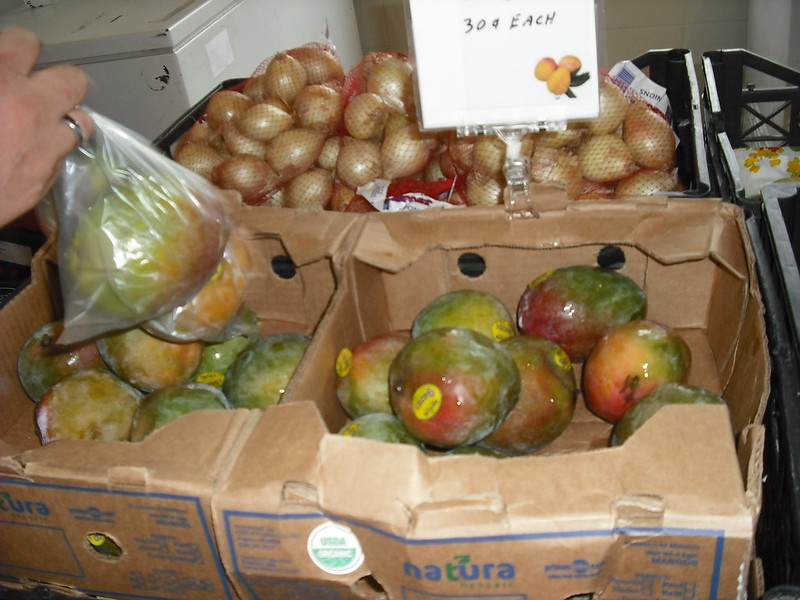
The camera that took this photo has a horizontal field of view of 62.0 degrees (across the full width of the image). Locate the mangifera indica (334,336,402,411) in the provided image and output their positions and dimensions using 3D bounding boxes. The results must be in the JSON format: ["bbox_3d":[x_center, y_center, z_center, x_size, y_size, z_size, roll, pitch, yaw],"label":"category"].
[{"bbox_3d":[-0.069,0.118,1.194,0.115,0.107,0.092,12,12,26],"label":"mangifera indica"}]

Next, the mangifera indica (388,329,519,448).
[{"bbox_3d":[0.074,0.129,1.014,0.182,0.165,0.152,-2,21,-25],"label":"mangifera indica"}]

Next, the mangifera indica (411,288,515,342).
[{"bbox_3d":[0.114,0.021,1.198,0.125,0.119,0.103,3,1,9],"label":"mangifera indica"}]

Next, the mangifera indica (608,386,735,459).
[{"bbox_3d":[0.397,0.157,1.000,0.145,0.100,0.117,-23,7,7],"label":"mangifera indica"}]

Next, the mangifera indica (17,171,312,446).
[{"bbox_3d":[-0.441,0.090,1.119,0.426,0.151,0.526,-25,67,10],"label":"mangifera indica"}]

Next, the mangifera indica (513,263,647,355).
[{"bbox_3d":[0.352,0.047,1.279,0.243,0.213,0.200,-4,9,7],"label":"mangifera indica"}]

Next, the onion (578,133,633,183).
[{"bbox_3d":[0.446,-0.311,1.459,0.098,0.062,0.099,-6,64,7],"label":"onion"}]

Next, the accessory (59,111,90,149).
[{"bbox_3d":[-0.470,-0.247,0.963,0.029,0.039,0.014,40,52,6],"label":"accessory"}]
